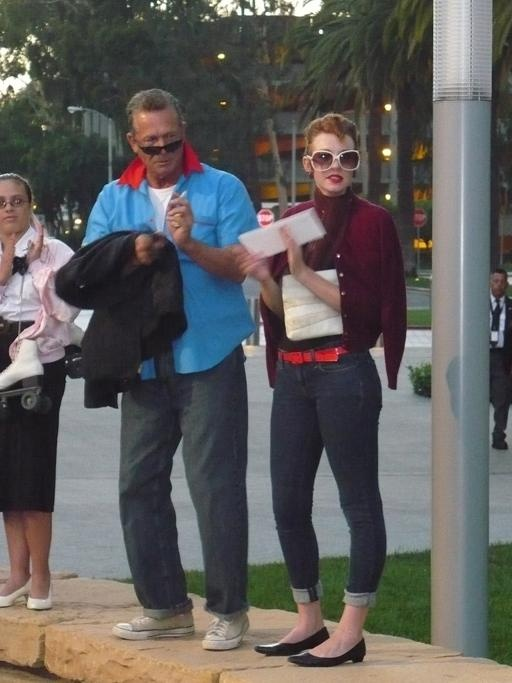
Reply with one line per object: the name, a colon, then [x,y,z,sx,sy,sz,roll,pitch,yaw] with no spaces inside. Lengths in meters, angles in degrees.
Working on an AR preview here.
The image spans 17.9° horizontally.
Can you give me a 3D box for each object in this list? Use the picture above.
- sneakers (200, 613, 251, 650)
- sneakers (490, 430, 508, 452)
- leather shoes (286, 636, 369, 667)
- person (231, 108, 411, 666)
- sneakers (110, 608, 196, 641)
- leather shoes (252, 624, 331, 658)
sneakers: [-0.120,1.103,6.183,0.083,0.100,0.233,-1,-5,15]
sneakers: [2.052,0.827,13.778,0.189,0.231,0.131,0,0,-5]
leather shoes: [0.270,1.149,6.042,0.268,0.113,0.106,4,-11,-15]
person: [0.270,0.156,6.167,0.613,2.055,0.570,-2,3,5]
sneakers: [-0.401,1.090,6.344,0.312,0.133,0.120,2,-5,-3]
leather shoes: [0.142,1.137,6.200,0.300,0.114,0.104,1,-8,-21]
